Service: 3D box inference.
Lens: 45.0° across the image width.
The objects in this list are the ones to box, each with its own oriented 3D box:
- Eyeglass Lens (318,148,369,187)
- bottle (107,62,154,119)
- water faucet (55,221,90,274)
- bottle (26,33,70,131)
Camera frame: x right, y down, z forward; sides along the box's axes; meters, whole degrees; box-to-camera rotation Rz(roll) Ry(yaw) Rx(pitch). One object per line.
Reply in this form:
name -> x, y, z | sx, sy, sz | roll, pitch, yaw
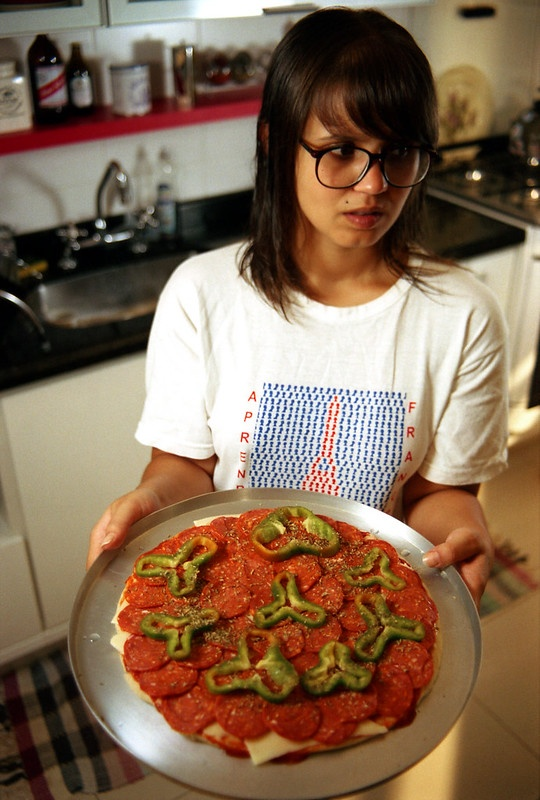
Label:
Eyeglass Lens -> 0.102, -0.321, 0.900 | 0.078, 0.057, 0.016 | 12, 28, 26
bottle -> -0.456, -1.010, 2.097 | 0.161, 0.170, 0.155 | 4, 30, -18
water faucet -> -0.670, -0.507, 2.194 | 0.103, 0.156, 0.063 | 5, -4, 37
bottle -> -0.655, -0.936, 1.911 | 0.103, 0.239, 0.106 | -1, 25, 1
